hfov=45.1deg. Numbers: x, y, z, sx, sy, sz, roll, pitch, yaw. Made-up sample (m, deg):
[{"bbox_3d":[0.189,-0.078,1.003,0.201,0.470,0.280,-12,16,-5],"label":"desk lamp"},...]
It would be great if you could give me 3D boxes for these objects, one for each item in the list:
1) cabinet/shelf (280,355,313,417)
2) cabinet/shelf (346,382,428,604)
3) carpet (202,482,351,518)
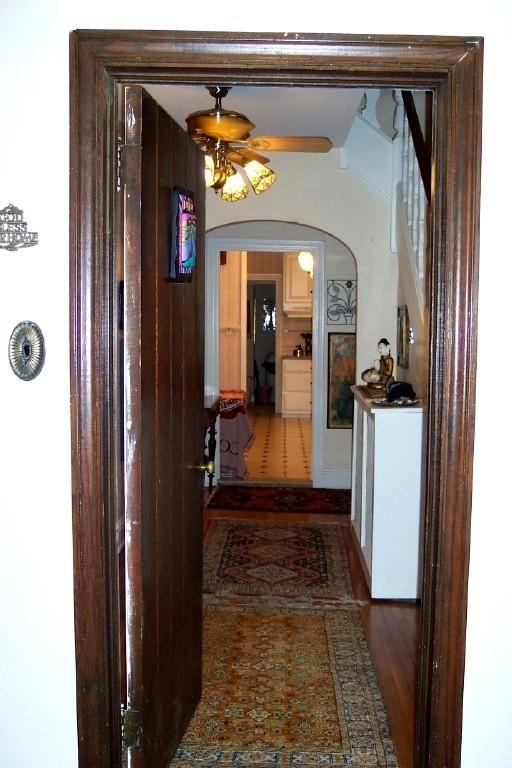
[{"bbox_3d":[0.671,0.069,10.238,0.465,1.023,0.553,0,3,1],"label":"cabinet/shelf"},{"bbox_3d":[0.787,0.523,4.094,0.255,1.040,1.038,1,-3,6],"label":"cabinet/shelf"},{"bbox_3d":[0.216,1.080,5.753,1.301,0.030,0.872,1,4,8],"label":"carpet"}]
